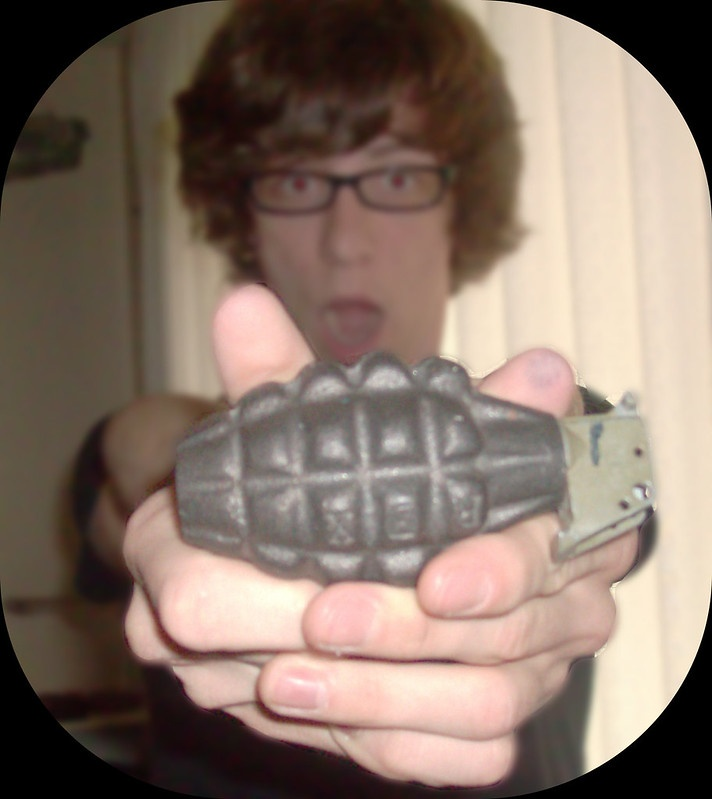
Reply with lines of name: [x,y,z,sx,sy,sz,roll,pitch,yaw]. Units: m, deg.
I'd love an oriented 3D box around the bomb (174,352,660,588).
bomb: [0.047,0.075,1.036,0.529,0.173,0.208,0,80,-3]
